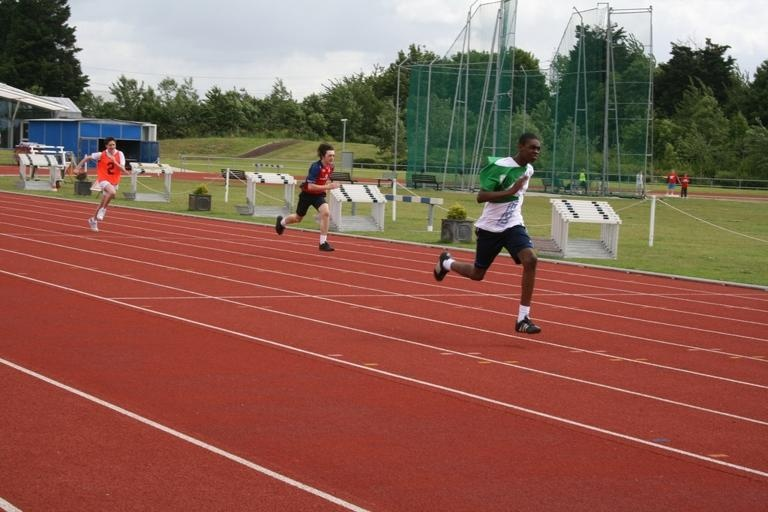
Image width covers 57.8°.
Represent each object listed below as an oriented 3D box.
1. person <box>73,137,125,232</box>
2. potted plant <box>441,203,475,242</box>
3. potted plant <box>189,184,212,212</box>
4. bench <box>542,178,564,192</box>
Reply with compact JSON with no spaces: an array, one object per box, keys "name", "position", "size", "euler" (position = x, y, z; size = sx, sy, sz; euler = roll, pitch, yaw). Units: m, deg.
[{"name":"person","position":[-6.688,-1.696,16.316],"size":[1.202,2.174,0.975],"euler":[5,-1,44]},{"name":"potted plant","position":[1.796,-0.785,17.151],"size":[0.641,0.920,0.604],"euler":[0,3,-32]},{"name":"potted plant","position":[-6.130,-1.921,23.036],"size":[0.889,1.126,0.873],"euler":[-1,9,-13]},{"name":"bench","position":[9.876,-4.122,40.668],"size":[0.415,0.782,1.649],"euler":[-1,10,-24]}]
